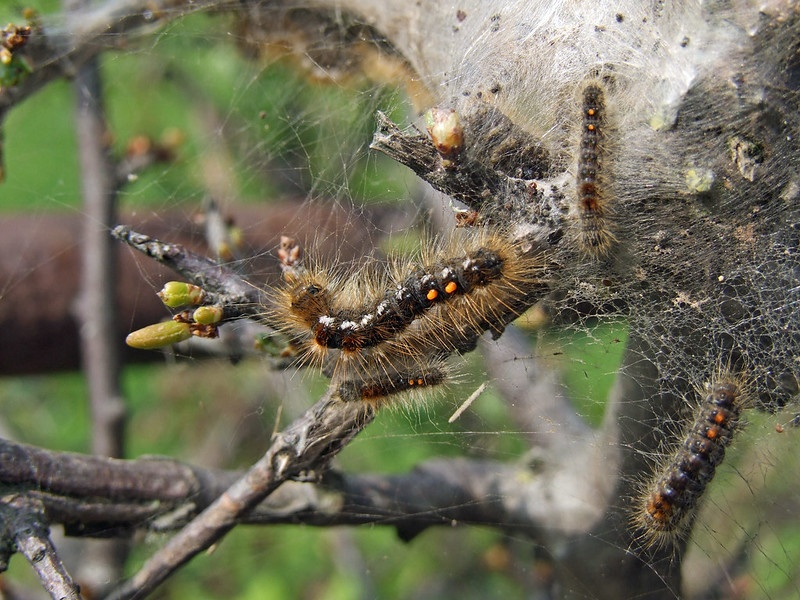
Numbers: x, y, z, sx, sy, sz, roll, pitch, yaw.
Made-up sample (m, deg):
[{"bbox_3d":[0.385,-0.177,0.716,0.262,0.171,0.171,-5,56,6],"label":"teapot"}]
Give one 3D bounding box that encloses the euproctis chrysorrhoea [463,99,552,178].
[{"bbox_3d":[0.516,-0.736,4.524,0.276,0.406,0.095,-50,8,-16],"label":"euproctis chrysorrhoea"}]
